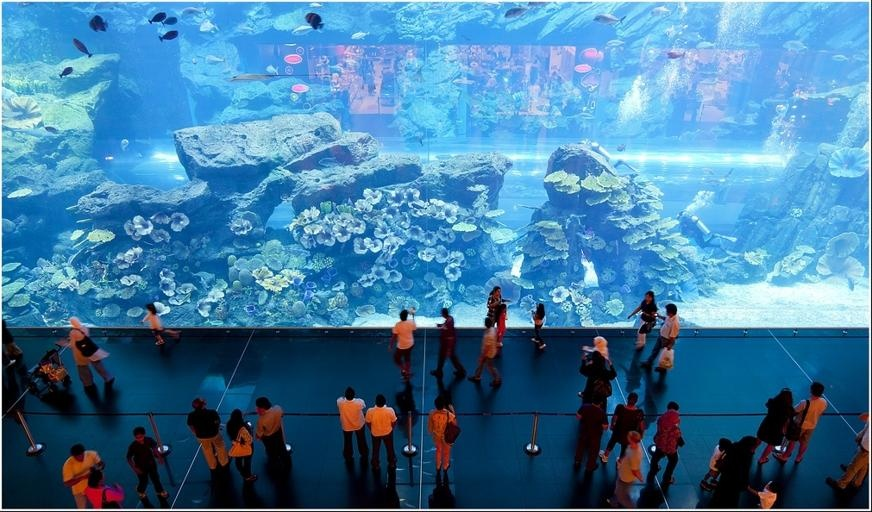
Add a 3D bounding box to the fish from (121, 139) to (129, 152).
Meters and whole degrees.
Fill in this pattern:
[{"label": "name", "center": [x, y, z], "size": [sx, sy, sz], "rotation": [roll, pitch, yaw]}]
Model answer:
[{"label": "fish", "center": [-20.053, -7.157, 37.479], "size": [0.600, 0.607, 0.219], "rotation": [4, 8, -34]}]
